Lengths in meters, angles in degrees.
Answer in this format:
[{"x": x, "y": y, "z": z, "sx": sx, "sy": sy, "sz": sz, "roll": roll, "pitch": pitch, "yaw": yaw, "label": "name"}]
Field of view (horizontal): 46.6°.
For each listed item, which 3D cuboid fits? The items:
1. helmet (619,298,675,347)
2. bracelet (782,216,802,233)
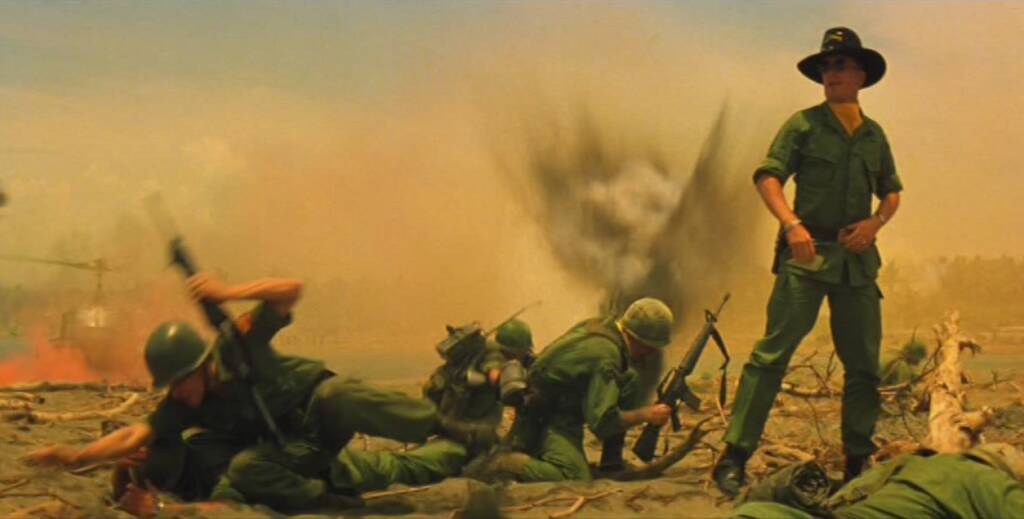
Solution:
[{"x": 1.539, "y": 0.715, "z": 13.544, "sx": 0.611, "sy": 0.352, "sz": 0.503, "roll": 32, "pitch": 32, "yaw": 2, "label": "helmet"}, {"x": 3.055, "y": -0.376, "z": 13.045, "sx": 0.165, "sy": 0.037, "sz": 0.162, "roll": -26, "pitch": -3, "yaw": -39, "label": "bracelet"}]
